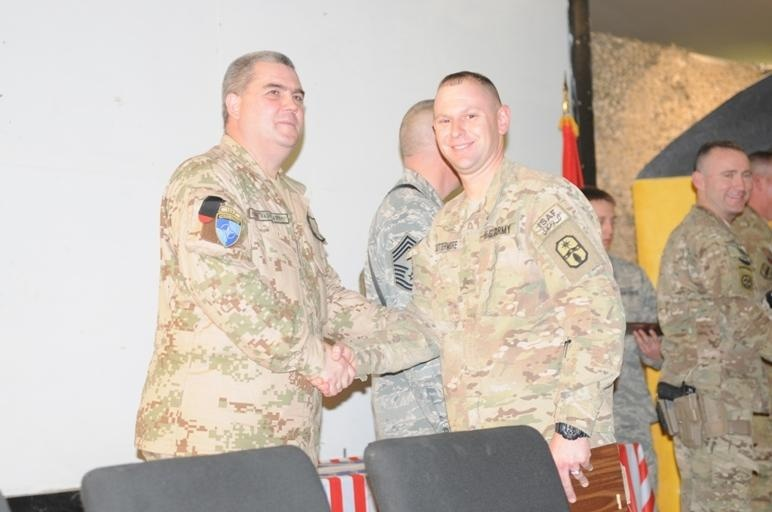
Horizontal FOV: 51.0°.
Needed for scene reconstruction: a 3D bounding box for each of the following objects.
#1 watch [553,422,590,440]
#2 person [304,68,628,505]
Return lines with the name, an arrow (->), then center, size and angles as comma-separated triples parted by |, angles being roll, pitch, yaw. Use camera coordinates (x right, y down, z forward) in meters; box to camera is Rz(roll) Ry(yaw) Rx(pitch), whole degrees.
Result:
watch -> 0.705, 0.664, 3.110 | 0.093, 0.032, 0.069 | 12, -9, -15
person -> 0.435, 0.119, 3.409 | 0.970, 1.796, 0.366 | -19, -20, 40
